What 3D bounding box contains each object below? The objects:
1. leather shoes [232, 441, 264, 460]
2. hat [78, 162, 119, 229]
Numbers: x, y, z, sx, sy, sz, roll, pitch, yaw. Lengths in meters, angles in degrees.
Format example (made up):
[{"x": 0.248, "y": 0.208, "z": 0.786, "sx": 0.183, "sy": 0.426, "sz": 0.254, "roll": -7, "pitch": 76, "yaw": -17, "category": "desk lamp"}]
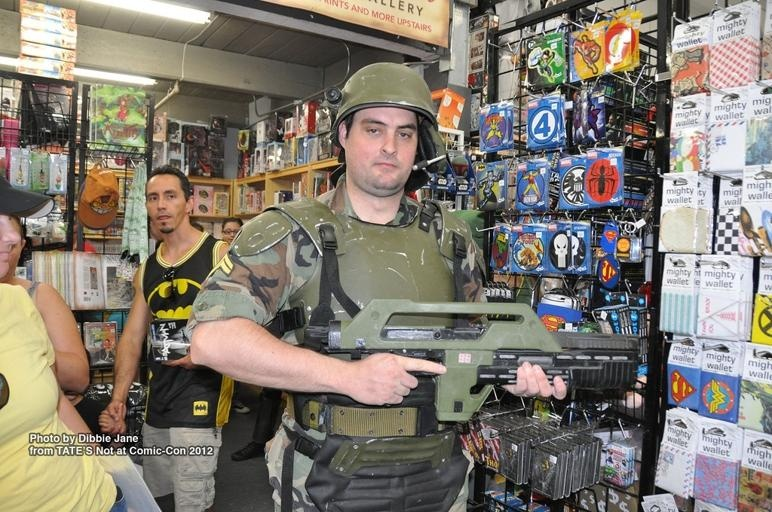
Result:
[{"x": -1.262, "y": 1.799, "z": 5.744, "sx": 0.374, "sy": 0.160, "sz": 0.128, "roll": 1, "pitch": 0, "yaw": -22, "category": "leather shoes"}, {"x": -2.398, "y": -0.456, "z": 5.156, "sx": 0.301, "sy": 0.555, "sz": 0.333, "roll": 10, "pitch": -13, "yaw": -36, "category": "hat"}]
